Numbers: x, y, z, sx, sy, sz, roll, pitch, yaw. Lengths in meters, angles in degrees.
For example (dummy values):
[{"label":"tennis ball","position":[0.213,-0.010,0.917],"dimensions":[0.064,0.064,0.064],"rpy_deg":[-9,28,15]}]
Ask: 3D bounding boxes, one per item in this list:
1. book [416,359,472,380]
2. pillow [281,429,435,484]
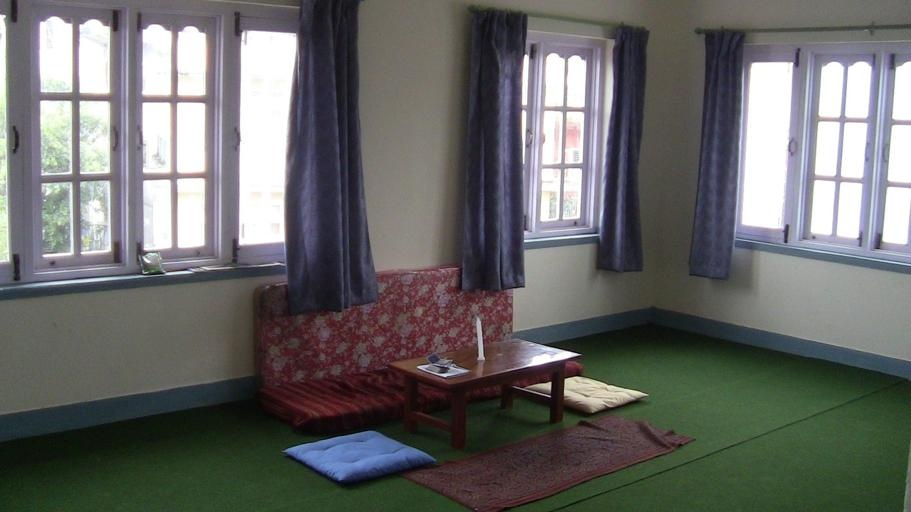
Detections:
[{"label":"book","position":[-0.113,0.960,5.335],"dimensions":[0.433,0.060,0.268],"rpy_deg":[7,14,41]},{"label":"pillow","position":[-0.773,1.614,4.994],"dimensions":[1.117,0.137,0.558],"rpy_deg":[-5,11,-18]}]
